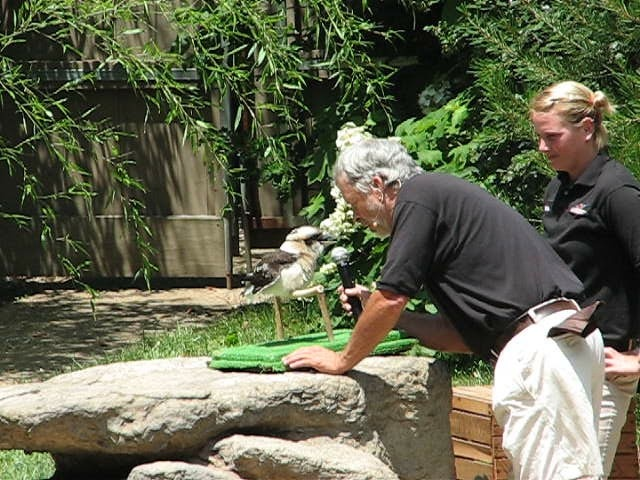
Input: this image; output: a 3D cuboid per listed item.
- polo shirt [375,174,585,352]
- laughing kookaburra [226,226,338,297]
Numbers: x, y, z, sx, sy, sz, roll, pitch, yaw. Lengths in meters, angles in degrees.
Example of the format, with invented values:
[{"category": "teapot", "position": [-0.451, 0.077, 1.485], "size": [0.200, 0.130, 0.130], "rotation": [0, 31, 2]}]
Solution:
[{"category": "polo shirt", "position": [0.955, 0.179, 5.963], "size": [1.132, 1.227, 1.014], "rotation": [-6, -11, 20]}, {"category": "laughing kookaburra", "position": [-0.219, 0.147, 6.754], "size": [0.682, 0.582, 0.424], "rotation": [4, 7, 22]}]
